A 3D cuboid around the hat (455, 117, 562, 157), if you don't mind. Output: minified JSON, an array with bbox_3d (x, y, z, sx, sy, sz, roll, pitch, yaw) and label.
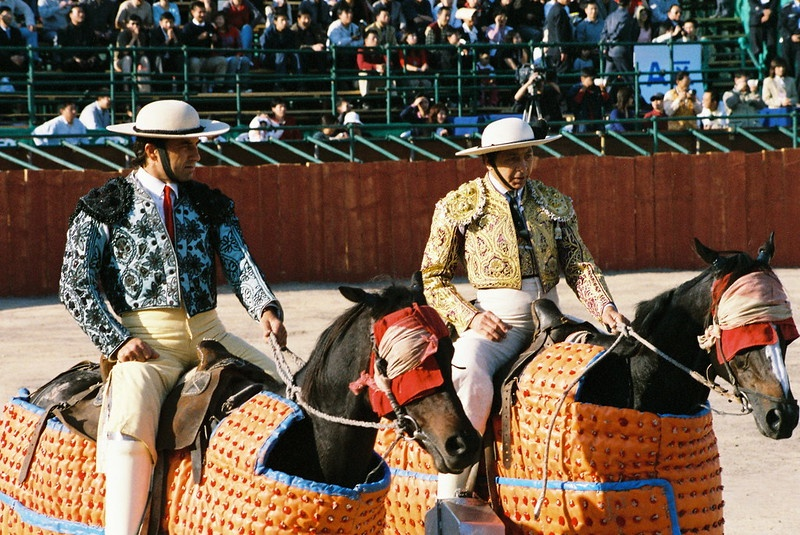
[{"bbox_3d":[0.972,-1.250,16.054,0.546,0.182,0.564,-12,4,35],"label":"hat"}]

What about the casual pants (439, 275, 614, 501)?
[{"bbox_3d":[1.180,1.227,15.490,0.986,2.033,0.444,21,8,30],"label":"casual pants"}]

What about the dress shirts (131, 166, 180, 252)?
[{"bbox_3d":[-2.323,-0.582,15.540,0.456,0.671,0.148,-8,3,-42],"label":"dress shirts"}]

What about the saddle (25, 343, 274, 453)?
[{"bbox_3d":[-2.255,1.247,15.264,1.528,0.629,1.215,-8,9,-19],"label":"saddle"}]

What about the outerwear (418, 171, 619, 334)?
[{"bbox_3d":[1.088,-0.061,16.503,2.111,1.924,1.298,-4,4,-9],"label":"outerwear"}]

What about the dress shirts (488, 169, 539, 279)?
[{"bbox_3d":[1.131,-0.361,16.173,0.437,0.857,0.188,-3,-12,-20],"label":"dress shirts"}]
